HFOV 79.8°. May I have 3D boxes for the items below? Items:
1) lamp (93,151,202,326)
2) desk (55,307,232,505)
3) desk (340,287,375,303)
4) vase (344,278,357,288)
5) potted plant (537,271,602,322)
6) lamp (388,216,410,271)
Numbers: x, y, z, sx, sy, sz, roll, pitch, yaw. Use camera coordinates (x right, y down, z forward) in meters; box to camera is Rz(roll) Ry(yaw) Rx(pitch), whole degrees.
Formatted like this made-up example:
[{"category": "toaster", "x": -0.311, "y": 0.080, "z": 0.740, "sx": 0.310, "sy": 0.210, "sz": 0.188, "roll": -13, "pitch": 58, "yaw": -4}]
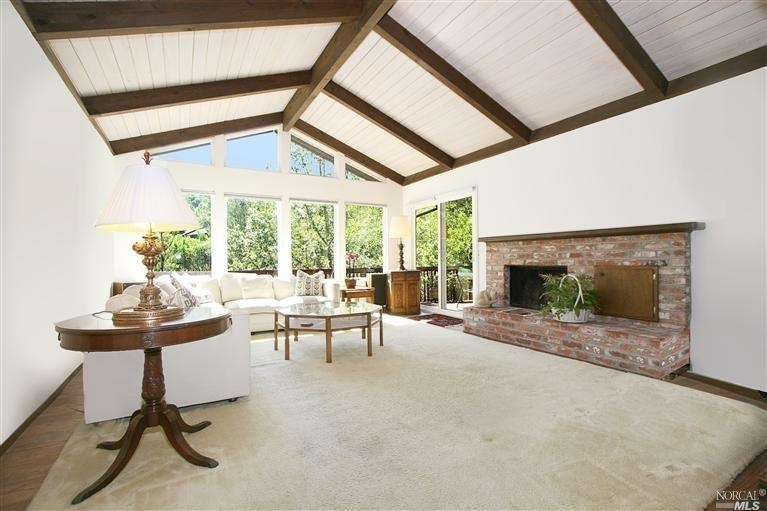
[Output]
[{"category": "lamp", "x": -1.802, "y": -0.162, "z": 3.542, "sx": 0.688, "sy": 1.290, "sz": 0.588, "roll": -3, "pitch": 6, "yaw": -31}, {"category": "desk", "x": -1.758, "y": 0.951, "z": 3.727, "sx": 1.343, "sy": 1.160, "sz": 1.396, "roll": -1, "pitch": 1, "yaw": 27}, {"category": "desk", "x": -0.435, "y": 0.697, "z": 8.151, "sx": 0.347, "sy": 0.305, "sz": 0.334, "roll": -1, "pitch": 4, "yaw": -14}, {"category": "vase", "x": -0.585, "y": 0.488, "z": 8.112, "sx": 0.163, "sy": 0.112, "sz": 0.158, "roll": 0, "pitch": -4, "yaw": -12}, {"category": "potted plant", "x": 2.401, "y": 0.540, "z": 6.003, "sx": 0.610, "sy": 0.529, "sz": 0.640, "roll": -1, "pitch": -5, "yaw": 17}, {"category": "lamp", "x": 0.302, "y": -0.258, "z": 8.920, "sx": 0.376, "sy": 1.079, "sz": 1.010, "roll": 0, "pitch": 4, "yaw": 0}]
